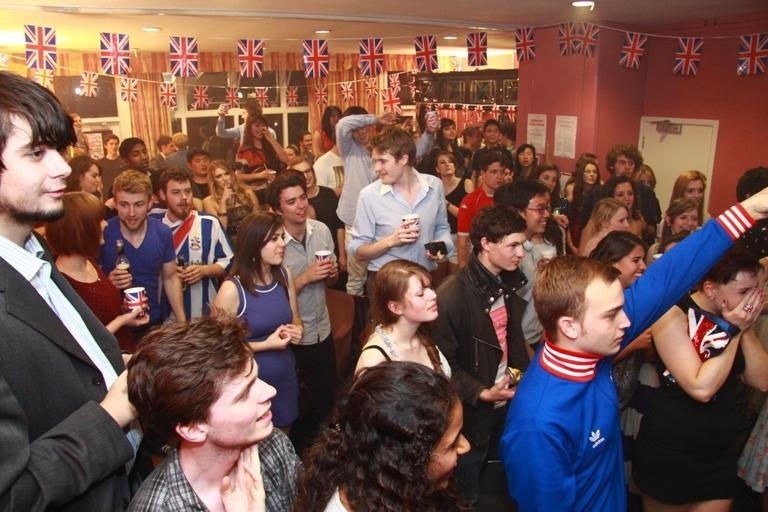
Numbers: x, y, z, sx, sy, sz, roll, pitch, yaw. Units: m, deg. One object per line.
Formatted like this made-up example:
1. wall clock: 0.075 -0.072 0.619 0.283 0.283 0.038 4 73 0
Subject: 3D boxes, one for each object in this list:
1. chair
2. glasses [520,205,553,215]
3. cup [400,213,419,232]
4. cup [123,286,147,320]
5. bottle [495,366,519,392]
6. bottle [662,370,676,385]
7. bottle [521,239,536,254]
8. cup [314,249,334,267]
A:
1. chair: -0.359 0.661 4.686 0.499 0.685 0.589 3 22 11
2. glasses: 1.243 -0.383 4.415 0.174 0.056 0.182 -2 4 -26
3. cup: 0.187 -0.249 3.903 0.115 0.103 0.130 0 0 37
4. cup: -1.582 0.288 3.402 0.141 0.160 0.144 1 2 0
5. bottle: 0.733 0.718 3.172 0.133 0.125 0.117 55 9 34
6. bottle: 1.576 0.676 2.953 0.034 0.081 0.059 -30 3 8
7. bottle: 1.201 -0.084 4.430 0.096 0.079 0.102 -2 10 0
8. cup: -0.448 0.017 4.060 0.114 0.090 0.092 -4 8 -20
